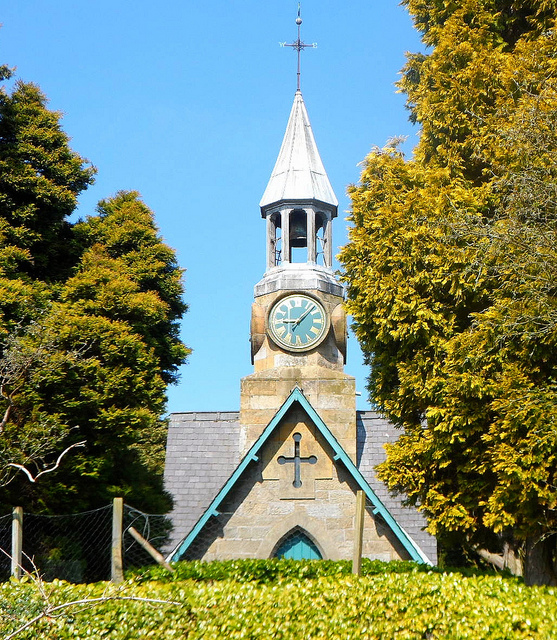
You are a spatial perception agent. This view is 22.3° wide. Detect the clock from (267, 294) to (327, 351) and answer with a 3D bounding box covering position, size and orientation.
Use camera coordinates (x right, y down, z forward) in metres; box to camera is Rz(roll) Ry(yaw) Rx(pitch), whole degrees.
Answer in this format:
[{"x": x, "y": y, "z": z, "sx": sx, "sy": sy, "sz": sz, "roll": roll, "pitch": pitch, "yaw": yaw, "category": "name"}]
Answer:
[{"x": 0.419, "y": 0.088, "z": 31.371, "sx": 1.426, "sy": 1.339, "sz": 0.185, "roll": -2, "pitch": -32, "yaw": 0, "category": "clock"}]
